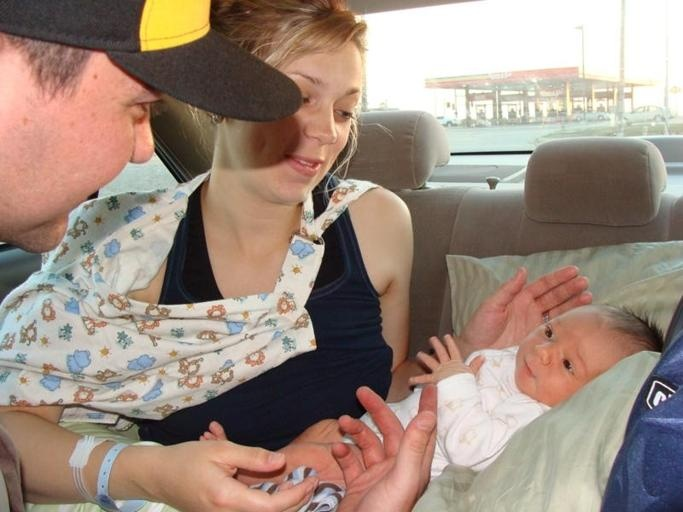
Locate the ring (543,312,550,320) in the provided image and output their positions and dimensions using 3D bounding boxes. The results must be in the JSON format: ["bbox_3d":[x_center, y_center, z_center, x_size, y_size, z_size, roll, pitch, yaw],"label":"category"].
[{"bbox_3d":[0.556,0.163,1.701,0.005,0.020,0.021,10,-14,-28],"label":"ring"}]
